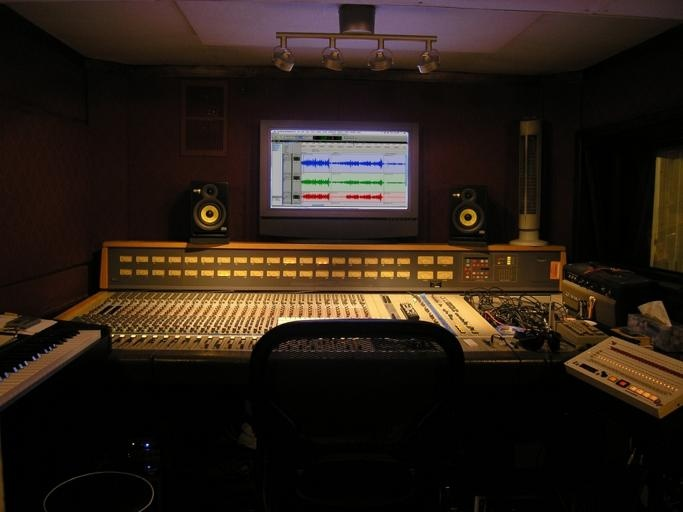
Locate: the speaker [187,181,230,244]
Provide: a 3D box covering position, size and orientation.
[{"bbox_3d":[-0.721,-0.264,3.234,0.275,0.360,0.260,-1,3,2],"label":"speaker"}]

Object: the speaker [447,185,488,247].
[{"bbox_3d":[0.791,-0.256,3.265,0.239,0.367,0.227,3,10,32],"label":"speaker"}]

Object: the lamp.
[{"bbox_3d":[0.080,-1.051,2.843,0.862,0.177,0.136,1,22,-2],"label":"lamp"}]

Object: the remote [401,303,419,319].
[{"bbox_3d":[0.334,0.270,2.666,0.045,0.018,0.085,8,17,-10],"label":"remote"}]
